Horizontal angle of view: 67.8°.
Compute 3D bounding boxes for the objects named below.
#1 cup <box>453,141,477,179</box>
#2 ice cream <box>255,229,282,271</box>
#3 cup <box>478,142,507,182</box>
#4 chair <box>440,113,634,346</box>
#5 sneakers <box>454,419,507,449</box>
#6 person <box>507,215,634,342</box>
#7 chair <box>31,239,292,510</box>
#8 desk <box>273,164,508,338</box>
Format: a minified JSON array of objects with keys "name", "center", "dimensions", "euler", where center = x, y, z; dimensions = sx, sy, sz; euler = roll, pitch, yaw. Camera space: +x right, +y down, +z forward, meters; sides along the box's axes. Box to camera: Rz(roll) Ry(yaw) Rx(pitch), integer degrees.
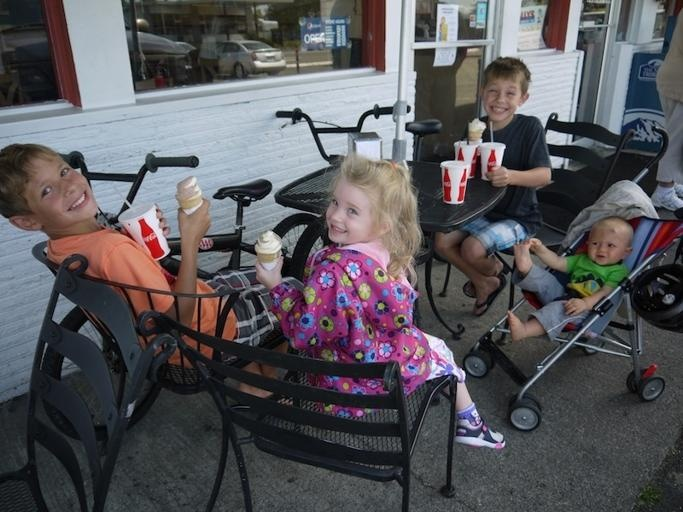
[{"name":"cup","center":[0.732,-0.555,2.957],"dimensions":[0.191,0.222,0.193],"euler":[-2,15,0]},{"name":"ice cream","center":[-0.285,-0.017,1.981],"dimensions":[0.098,0.164,0.083],"euler":[-5,23,-6]},{"name":"cup","center":[0.847,-0.560,2.996],"dimensions":[0.169,0.195,0.169],"euler":[8,16,-2]},{"name":"chair","center":[1.133,-0.448,3.593],"dimensions":[1.021,1.734,1.320],"euler":[27,36,36]},{"name":"sneakers","center":[0.660,0.854,2.494],"dimensions":[0.297,0.134,0.123],"euler":[6,-4,-26]},{"name":"person","center":[1.222,0.101,2.847],"dimensions":[0.825,0.606,0.440],"euler":[-13,29,-19]},{"name":"chair","center":[-0.845,0.326,2.506],"dimensions":[0.959,1.135,1.049],"euler":[14,29,24]},{"name":"desk","center":[0.262,0.045,3.069],"dimensions":[1.119,0.860,1.076],"euler":[23,42,28]}]
